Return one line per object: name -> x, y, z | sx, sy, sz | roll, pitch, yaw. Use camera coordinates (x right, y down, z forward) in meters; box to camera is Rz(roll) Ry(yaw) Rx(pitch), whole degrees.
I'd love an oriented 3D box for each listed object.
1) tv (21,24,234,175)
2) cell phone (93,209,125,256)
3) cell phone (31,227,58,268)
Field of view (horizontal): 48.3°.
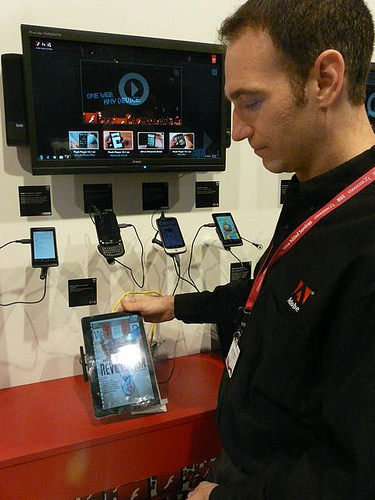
tv -> -0.218, -0.493, 1.356 | 0.572, 0.339, 0.043 | -3, 12, -23
cell phone -> -0.269, -0.057, 1.416 | 0.079, 0.046, 0.180 | -8, 62, -23
cell phone -> -0.477, -0.010, 1.388 | 0.077, 0.122, 0.169 | -3, 9, -20
